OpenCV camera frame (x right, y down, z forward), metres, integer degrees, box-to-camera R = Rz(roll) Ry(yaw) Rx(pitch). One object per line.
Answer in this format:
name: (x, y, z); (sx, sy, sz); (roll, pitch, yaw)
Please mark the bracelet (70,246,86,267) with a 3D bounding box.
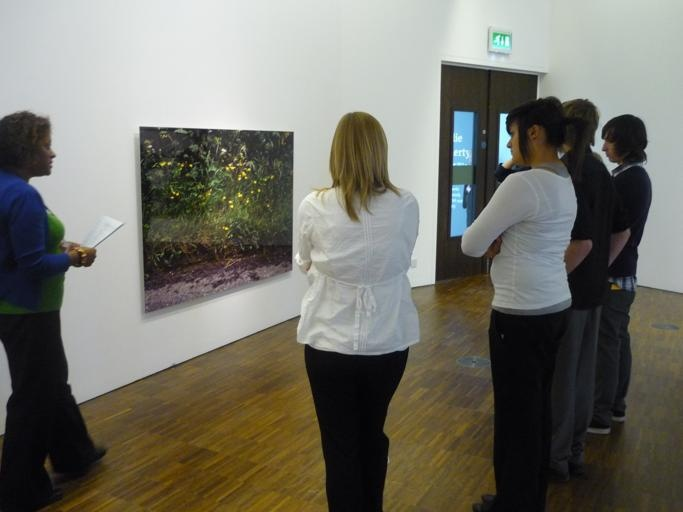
bracelet: (-1.586, 0.002, 2.950); (0.061, 0.095, 0.112); (-14, 23, -25)
